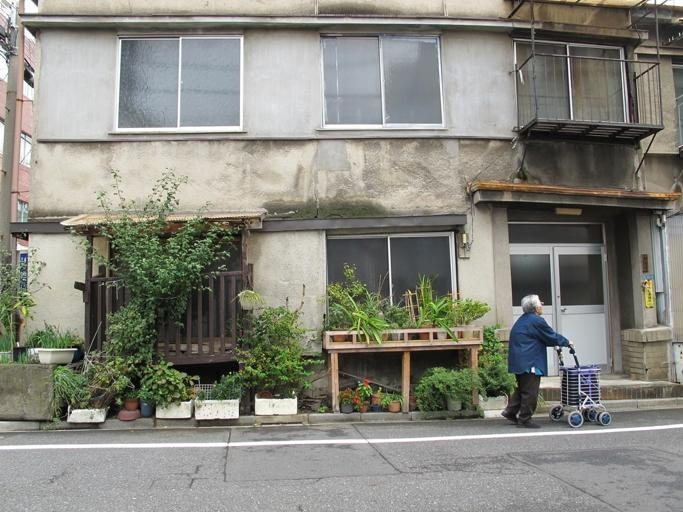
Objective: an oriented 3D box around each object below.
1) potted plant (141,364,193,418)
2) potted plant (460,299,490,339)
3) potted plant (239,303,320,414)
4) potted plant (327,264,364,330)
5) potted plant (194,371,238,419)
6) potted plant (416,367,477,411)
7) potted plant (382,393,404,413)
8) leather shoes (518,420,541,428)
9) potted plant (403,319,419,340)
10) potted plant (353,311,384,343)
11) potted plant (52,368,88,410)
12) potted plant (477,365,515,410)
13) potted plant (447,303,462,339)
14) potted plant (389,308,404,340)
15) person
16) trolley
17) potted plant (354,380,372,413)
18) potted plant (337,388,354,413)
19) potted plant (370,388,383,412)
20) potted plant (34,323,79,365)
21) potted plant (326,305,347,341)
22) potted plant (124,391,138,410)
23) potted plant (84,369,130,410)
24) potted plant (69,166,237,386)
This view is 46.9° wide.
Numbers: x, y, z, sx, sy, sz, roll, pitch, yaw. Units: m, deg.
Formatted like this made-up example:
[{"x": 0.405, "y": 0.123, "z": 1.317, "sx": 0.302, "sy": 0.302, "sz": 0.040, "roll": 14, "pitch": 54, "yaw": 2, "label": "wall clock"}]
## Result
[{"x": -3.253, "y": 2.540, "z": 14.759, "sx": 0.826, "sy": 0.874, "sz": 0.919, "roll": 2, "pitch": 2, "yaw": -29, "label": "potted plant"}, {"x": 2.512, "y": 1.159, "z": 15.621, "sx": 0.544, "sy": 0.548, "sz": 0.515, "roll": 4, "pitch": 0, "yaw": -20, "label": "potted plant"}, {"x": -1.391, "y": 2.012, "z": 15.509, "sx": 1.978, "sy": 2.613, "sz": 1.746, "roll": 1, "pitch": -9, "yaw": -9, "label": "potted plant"}, {"x": 0.026, "y": 0.872, "z": 15.850, "sx": 1.033, "sy": 1.448, "sz": 1.017, "roll": 3, "pitch": -17, "yaw": -2, "label": "potted plant"}, {"x": -2.314, "y": 2.582, "z": 14.604, "sx": 0.804, "sy": 0.790, "sz": 0.765, "roll": 2, "pitch": -15, "yaw": -12, "label": "potted plant"}, {"x": 1.929, "y": 2.526, "z": 15.048, "sx": 0.890, "sy": 0.641, "sz": 0.872, "roll": 1, "pitch": -1, "yaw": -21, "label": "potted plant"}, {"x": 0.964, "y": 2.819, "z": 15.113, "sx": 0.326, "sy": 0.230, "sz": 0.332, "roll": 1, "pitch": -2, "yaw": 12, "label": "potted plant"}, {"x": 3.299, "y": 2.958, "z": 14.002, "sx": 0.322, "sy": 0.138, "sz": 0.136, "roll": -1, "pitch": -4, "yaw": 12, "label": "leather shoes"}, {"x": 1.341, "y": 1.430, "z": 15.390, "sx": 0.280, "sy": 0.312, "sz": 0.350, "roll": 0, "pitch": 12, "yaw": -2, "label": "potted plant"}, {"x": 0.476, "y": 1.358, "z": 15.120, "sx": 0.641, "sy": 0.552, "sz": 0.332, "roll": 7, "pitch": 14, "yaw": 30, "label": "potted plant"}, {"x": -4.901, "y": 2.382, "z": 14.325, "sx": 0.622, "sy": 0.708, "sz": 0.354, "roll": -2, "pitch": 12, "yaw": -10, "label": "potted plant"}, {"x": 2.915, "y": 2.470, "z": 14.929, "sx": 0.755, "sy": 0.793, "sz": 0.772, "roll": 1, "pitch": -6, "yaw": 7, "label": "potted plant"}, {"x": 2.160, "y": 1.247, "z": 15.316, "sx": 0.225, "sy": 0.628, "sz": 0.448, "roll": 2, "pitch": 12, "yaw": 7, "label": "potted plant"}, {"x": 1.058, "y": 1.205, "z": 15.388, "sx": 0.367, "sy": 0.388, "sz": 0.333, "roll": -1, "pitch": 2, "yaw": -1, "label": "potted plant"}, {"x": 3.344, "y": 1.926, "z": 14.225, "sx": 0.977, "sy": 2.315, "sz": 0.916, "roll": 10, "pitch": 15, "yaw": 39, "label": "person"}, {"x": 4.475, "y": 2.309, "z": 14.405, "sx": 0.814, "sy": 1.383, "sz": 0.818, "roll": -5, "pitch": -2, "yaw": 23, "label": "trolley"}, {"x": 0.402, "y": 2.691, "z": 15.163, "sx": 0.503, "sy": 0.728, "sz": 0.474, "roll": 1, "pitch": -11, "yaw": 0, "label": "potted plant"}, {"x": 0.081, "y": 2.742, "z": 15.000, "sx": 0.348, "sy": 0.420, "sz": 0.414, "roll": 1, "pitch": -5, "yaw": -16, "label": "potted plant"}, {"x": 0.640, "y": 2.806, "z": 15.260, "sx": 0.332, "sy": 0.345, "sz": 0.297, "roll": 0, "pitch": -6, "yaw": -1, "label": "potted plant"}, {"x": -5.303, "y": 1.684, "z": 14.852, "sx": 0.893, "sy": 0.581, "sz": 0.729, "roll": -10, "pitch": -11, "yaw": 38, "label": "potted plant"}, {"x": -0.125, "y": 1.194, "z": 15.538, "sx": 0.379, "sy": 0.523, "sz": 0.893, "roll": -2, "pitch": 12, "yaw": -12, "label": "potted plant"}, {"x": -3.830, "y": 2.660, "z": 14.523, "sx": 0.307, "sy": 0.232, "sz": 0.310, "roll": 2, "pitch": -10, "yaw": -2, "label": "potted plant"}, {"x": -4.286, "y": 2.444, "z": 14.458, "sx": 0.577, "sy": 0.725, "sz": 0.311, "roll": 16, "pitch": -13, "yaw": 21, "label": "potted plant"}, {"x": -3.551, "y": 0.128, "z": 15.525, "sx": 2.870, "sy": 3.501, "sz": 2.795, "roll": -9, "pitch": 15, "yaw": -37, "label": "potted plant"}]
